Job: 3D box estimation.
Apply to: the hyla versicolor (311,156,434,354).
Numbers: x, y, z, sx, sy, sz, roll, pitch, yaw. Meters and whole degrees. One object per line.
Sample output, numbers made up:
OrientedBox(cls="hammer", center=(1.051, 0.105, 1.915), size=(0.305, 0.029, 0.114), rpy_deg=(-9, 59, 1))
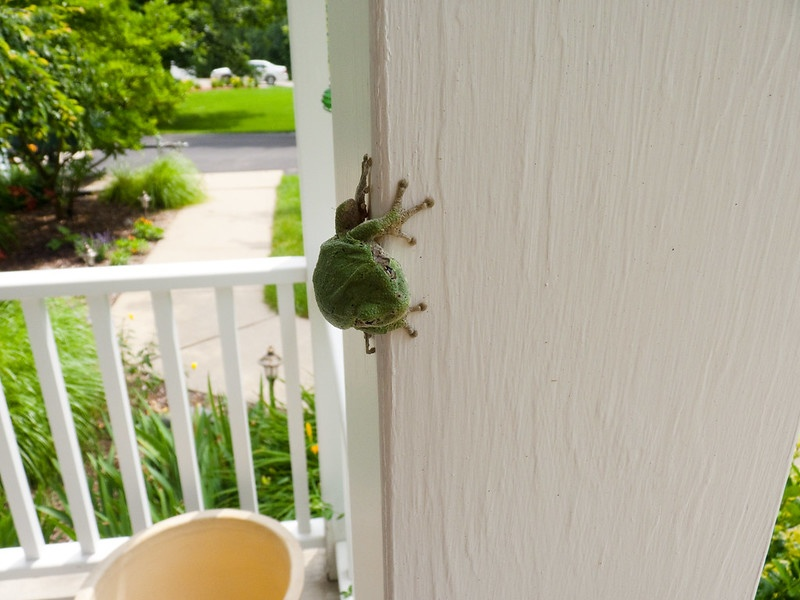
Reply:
OrientedBox(cls="hyla versicolor", center=(-0.039, -0.051, 1.004), size=(0.137, 0.279, 0.143), rpy_deg=(12, 25, 26))
